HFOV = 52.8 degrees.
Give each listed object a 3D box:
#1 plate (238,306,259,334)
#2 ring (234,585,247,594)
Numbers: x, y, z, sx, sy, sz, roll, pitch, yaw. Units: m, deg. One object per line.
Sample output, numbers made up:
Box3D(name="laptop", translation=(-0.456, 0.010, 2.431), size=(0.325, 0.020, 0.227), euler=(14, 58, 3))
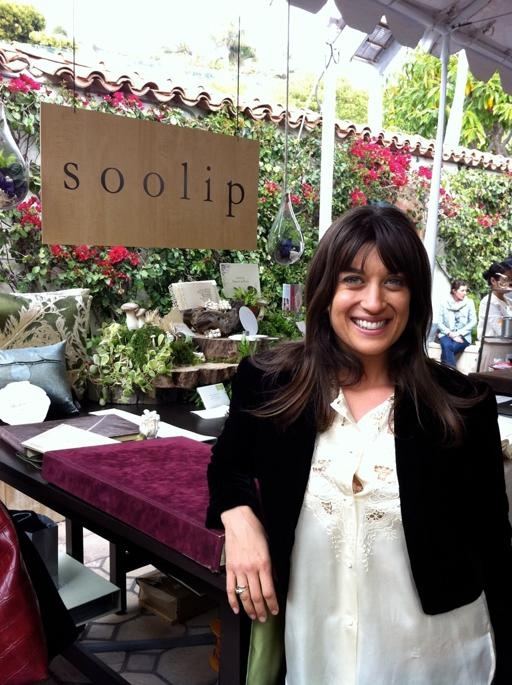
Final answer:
Box3D(name="plate", translation=(-0.044, -0.107, 2.567), size=(0.029, 0.124, 0.119), euler=(-21, 34, 10))
Box3D(name="ring", translation=(-0.026, 0.360, 0.753), size=(0.011, 0.009, 0.015), euler=(-18, -36, 34))
